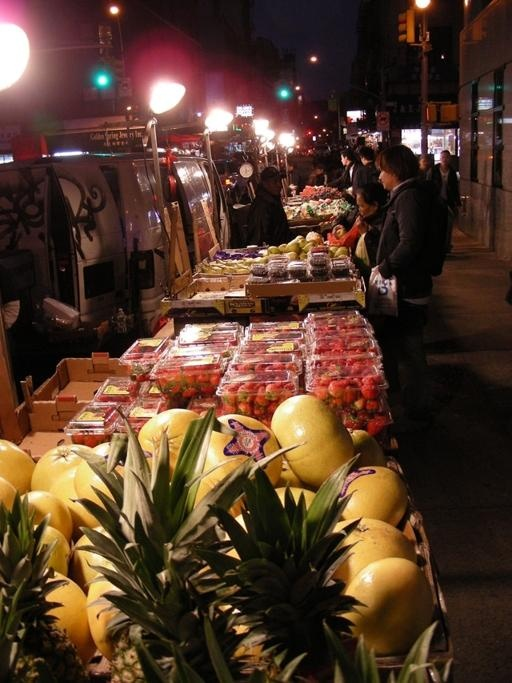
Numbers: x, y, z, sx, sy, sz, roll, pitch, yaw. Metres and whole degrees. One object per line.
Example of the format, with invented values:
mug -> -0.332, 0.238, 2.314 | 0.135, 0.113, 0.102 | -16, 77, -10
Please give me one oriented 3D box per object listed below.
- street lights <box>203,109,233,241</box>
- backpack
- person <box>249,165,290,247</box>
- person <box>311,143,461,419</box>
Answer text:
street lights -> -0.752, -3.170, 8.632 | 0.632, 3.006, 0.710 | 0, 17, -1
backpack -> 1.909, -1.245, 5.392 | 0.437, 0.996, 0.541 | -2, 17, 4
person -> 0.204, -2.417, 9.082 | 0.664, 1.545, 0.638 | -3, 17, -13
person -> 1.511, -0.741, 5.882 | 1.197, 3.128, 1.182 | 2, 7, 21
